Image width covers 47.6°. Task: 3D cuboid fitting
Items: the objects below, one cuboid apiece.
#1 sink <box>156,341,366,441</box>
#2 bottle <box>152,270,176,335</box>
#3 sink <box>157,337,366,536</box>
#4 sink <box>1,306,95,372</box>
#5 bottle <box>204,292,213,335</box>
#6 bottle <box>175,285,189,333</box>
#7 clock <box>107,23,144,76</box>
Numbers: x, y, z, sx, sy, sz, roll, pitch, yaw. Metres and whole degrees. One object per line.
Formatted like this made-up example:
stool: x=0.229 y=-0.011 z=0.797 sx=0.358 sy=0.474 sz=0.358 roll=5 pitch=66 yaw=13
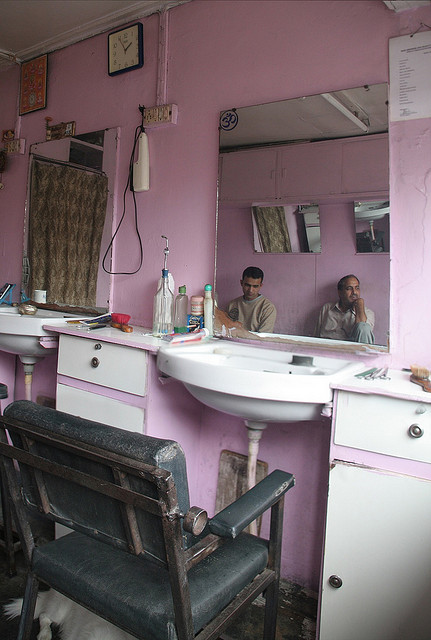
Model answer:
sink: x=0.086 y=0.066 z=1.299 sx=0.436 sy=0.299 sz=0.242 roll=8 pitch=8 yaw=40
bottle: x=-0.209 y=-0.070 z=1.989 sx=0.092 sy=0.258 sz=0.193 roll=0 pitch=1 yaw=-6
sink: x=0.126 y=0.428 z=1.577 sx=0.634 sy=0.678 sz=0.590 roll=1 pitch=1 yaw=32
sink: x=-0.822 y=0.109 z=2.358 sx=0.378 sy=0.298 sz=0.659 roll=0 pitch=1 yaw=-13
bottle: x=-0.024 y=-0.025 z=1.973 sx=0.040 sy=0.169 sz=0.036 roll=-1 pitch=1 yaw=-25
bottle: x=-0.145 y=-0.053 z=2.048 sx=0.053 sy=0.166 sz=0.076 roll=0 pitch=1 yaw=-2
clock: x=-0.424 y=-1.292 z=2.327 sx=0.295 sy=0.280 sz=0.032 roll=3 pitch=3 yaw=42
